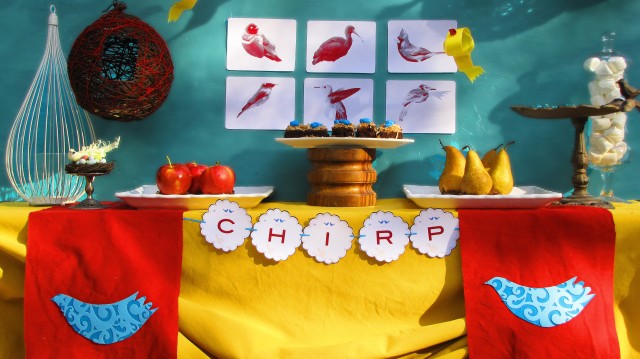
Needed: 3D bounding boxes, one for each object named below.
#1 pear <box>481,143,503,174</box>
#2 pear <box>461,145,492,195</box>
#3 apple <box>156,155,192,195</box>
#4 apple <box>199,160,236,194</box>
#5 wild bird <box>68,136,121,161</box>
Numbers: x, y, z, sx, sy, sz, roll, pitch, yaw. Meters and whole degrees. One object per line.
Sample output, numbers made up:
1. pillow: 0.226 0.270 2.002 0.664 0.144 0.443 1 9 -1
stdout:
1. pear: 0.950 -0.125 3.878 0.074 0.071 0.176 8 -41 -23
2. pear: 0.831 -0.046 3.774 0.164 0.315 0.167 6 -12 -18
3. apple: -0.794 -0.013 3.786 0.238 0.223 0.239 -2 16 -15
4. apple: -0.565 0.001 3.831 0.216 0.219 0.212 -3 -4 9
5. wild bird: -1.231 -0.145 3.823 0.169 0.112 0.245 2 11 41
